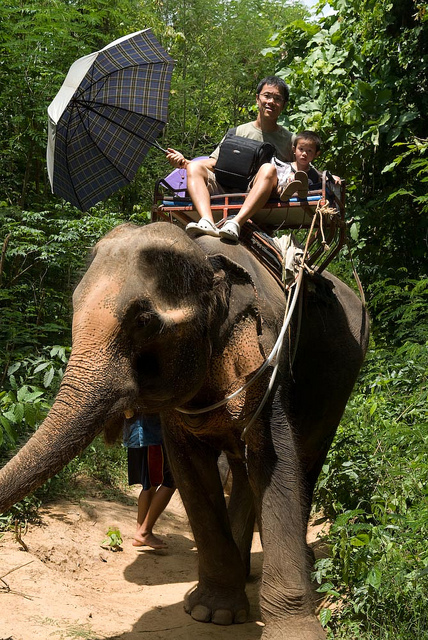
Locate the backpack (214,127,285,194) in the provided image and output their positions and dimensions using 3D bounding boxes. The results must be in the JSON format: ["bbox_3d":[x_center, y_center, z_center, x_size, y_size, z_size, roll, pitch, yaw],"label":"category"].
[{"bbox_3d":[0.109,-0.718,2.651,0.228,0.267,0.295,16,11,11],"label":"backpack"}]

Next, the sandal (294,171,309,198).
[{"bbox_3d":[0.333,-0.515,2.256,0.045,0.101,0.041,-2,15,-5],"label":"sandal"}]

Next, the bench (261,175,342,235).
[{"bbox_3d":[0.324,-0.464,2.460,0.404,0.228,0.284,0,-5,19],"label":"bench"}]

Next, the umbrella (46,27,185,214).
[{"bbox_3d":[-0.569,-0.864,2.569,0.583,0.601,0.352,17,50,-8],"label":"umbrella"}]

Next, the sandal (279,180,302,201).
[{"bbox_3d":[0.286,-0.499,2.277,0.044,0.112,0.043,22,41,-29],"label":"sandal"}]

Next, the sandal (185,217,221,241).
[{"bbox_3d":[-0.029,-0.322,2.162,0.068,0.062,0.147,0,-9,37],"label":"sandal"}]

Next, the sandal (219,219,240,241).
[{"bbox_3d":[0.067,-0.330,2.165,0.042,0.043,0.106,14,-6,3],"label":"sandal"}]
